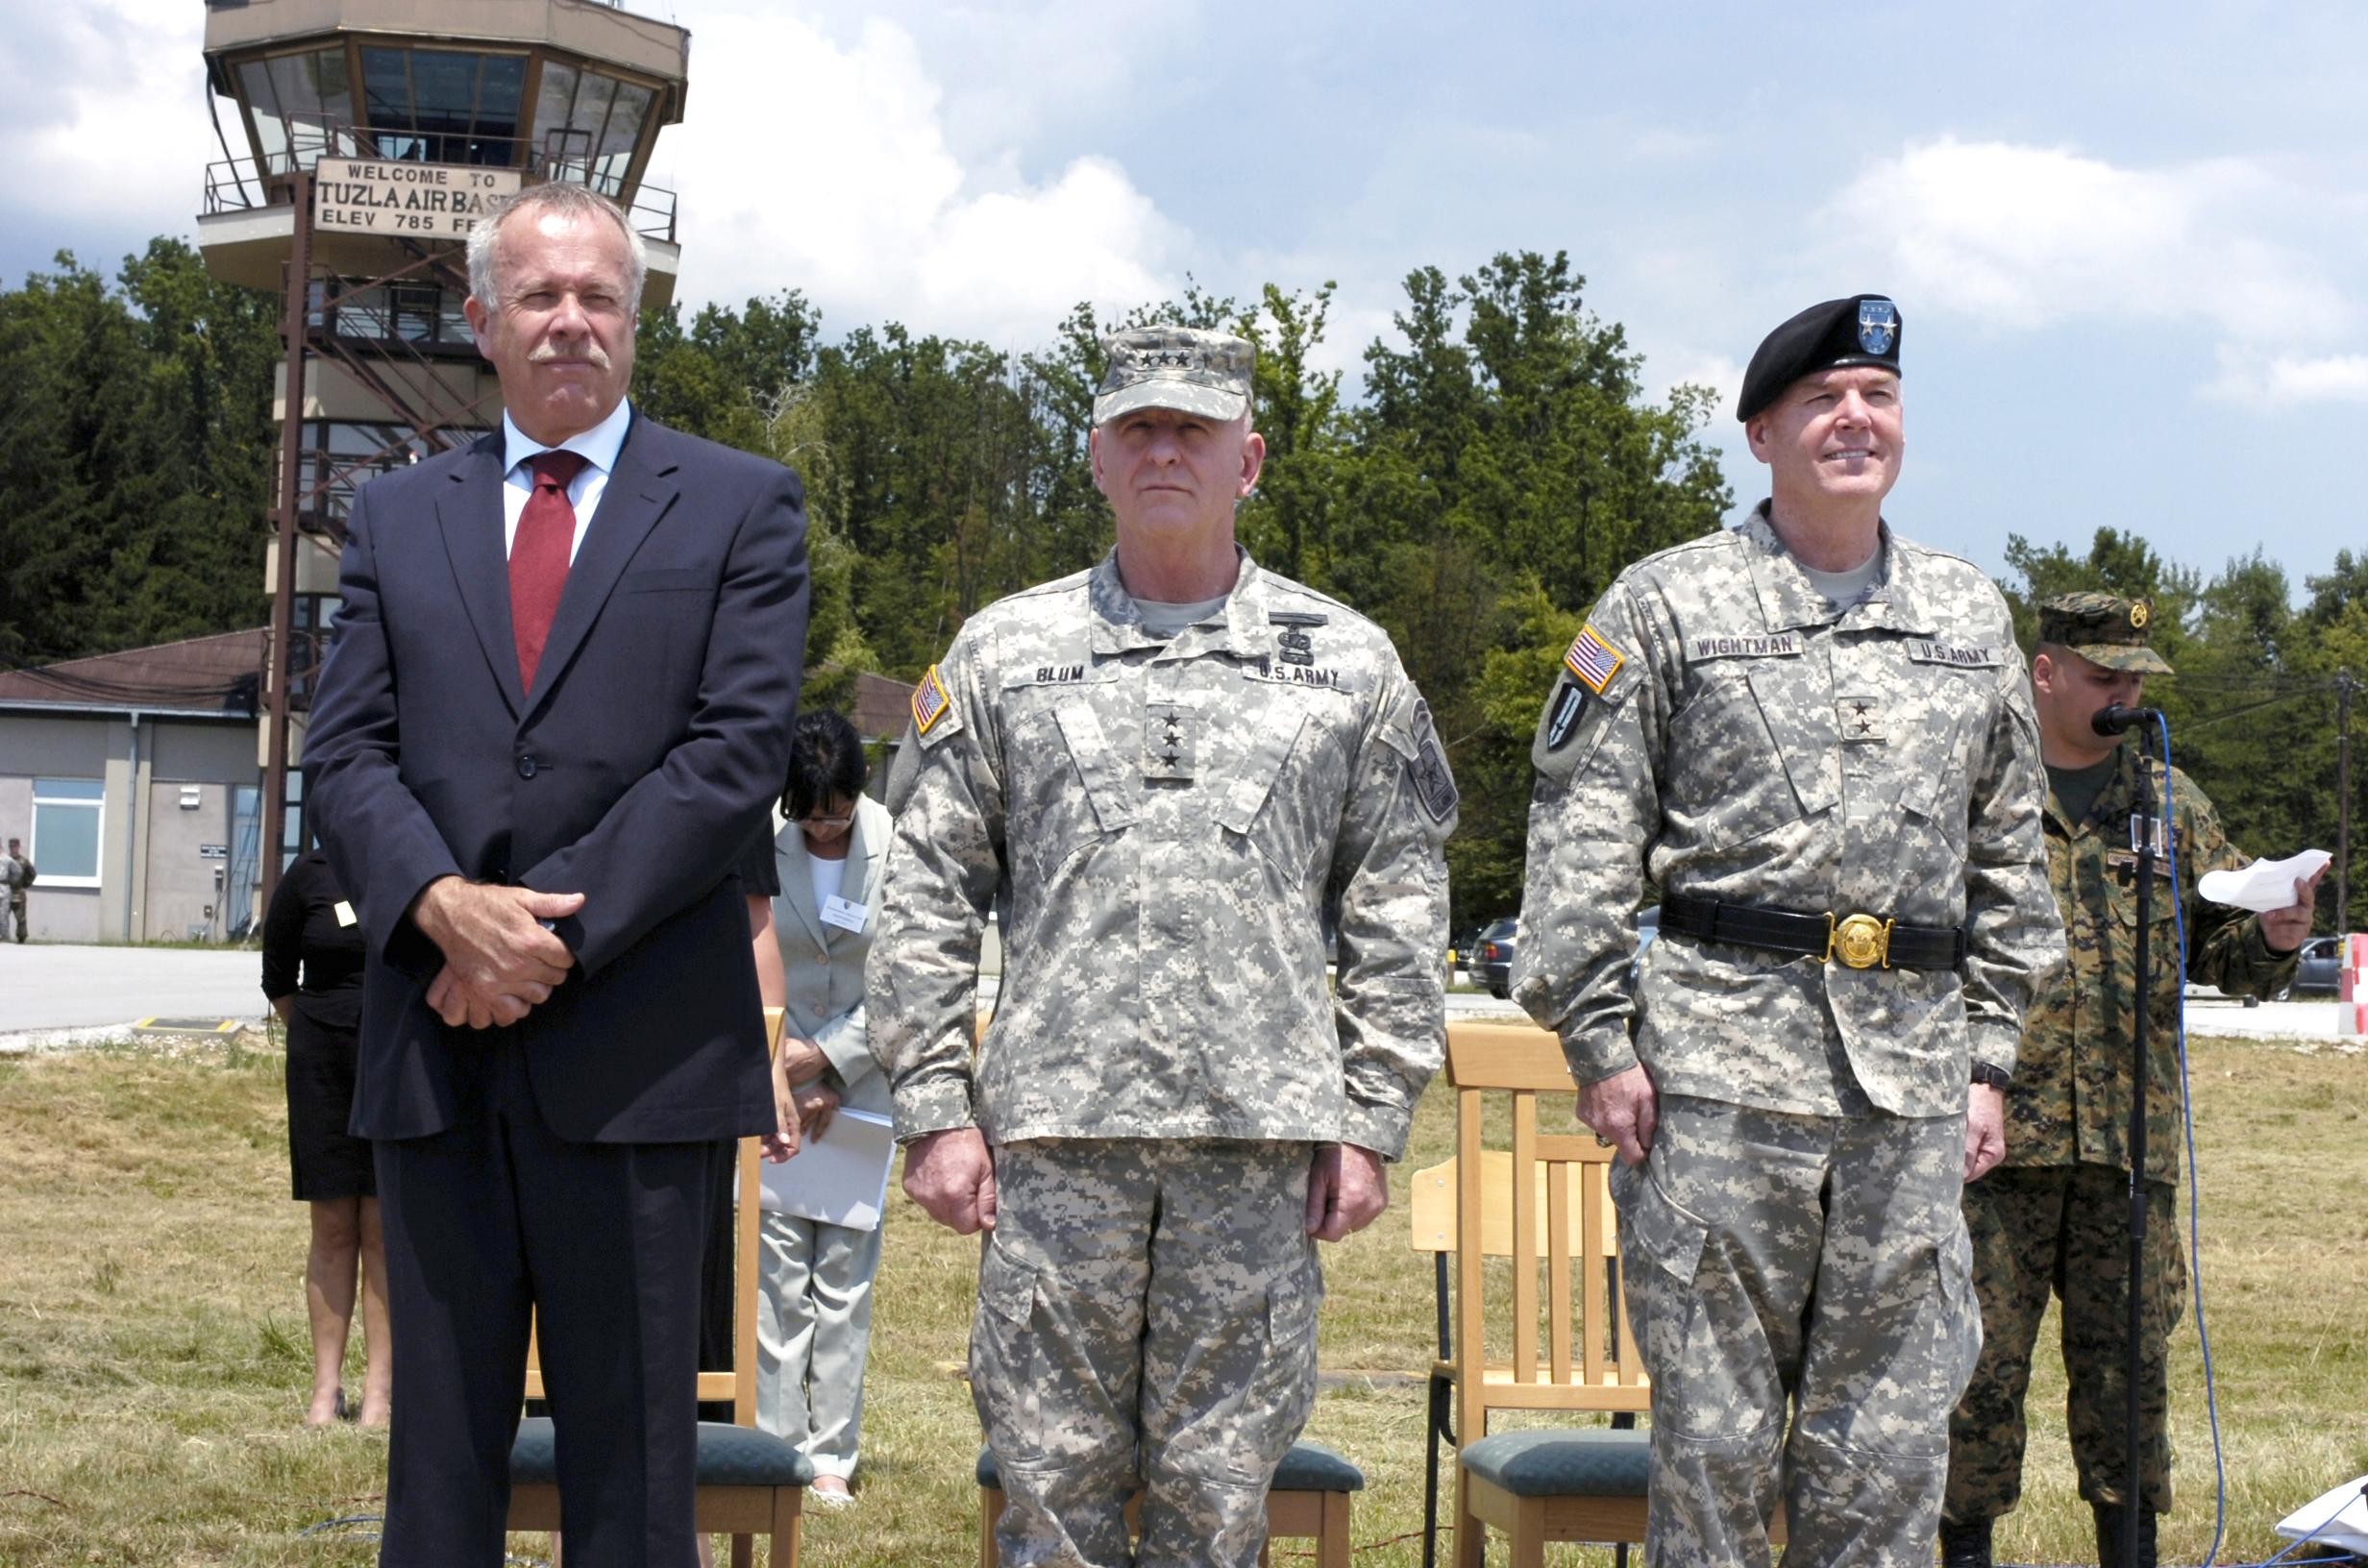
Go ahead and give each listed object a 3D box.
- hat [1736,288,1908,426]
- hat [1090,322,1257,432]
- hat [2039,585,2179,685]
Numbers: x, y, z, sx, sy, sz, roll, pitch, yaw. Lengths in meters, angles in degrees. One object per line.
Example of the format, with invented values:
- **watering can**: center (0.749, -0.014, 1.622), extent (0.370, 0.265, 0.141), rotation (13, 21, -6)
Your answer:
- **hat**: center (1.972, -1.292, 8.027), extent (0.548, 0.269, 0.655), rotation (-1, -8, -15)
- **hat**: center (-0.030, -1.190, 7.682), extent (0.501, 0.339, 0.671), rotation (-1, 1, -4)
- **hat**: center (3.333, -0.544, 9.406), extent (0.398, 0.221, 0.301), rotation (12, 11, 41)
